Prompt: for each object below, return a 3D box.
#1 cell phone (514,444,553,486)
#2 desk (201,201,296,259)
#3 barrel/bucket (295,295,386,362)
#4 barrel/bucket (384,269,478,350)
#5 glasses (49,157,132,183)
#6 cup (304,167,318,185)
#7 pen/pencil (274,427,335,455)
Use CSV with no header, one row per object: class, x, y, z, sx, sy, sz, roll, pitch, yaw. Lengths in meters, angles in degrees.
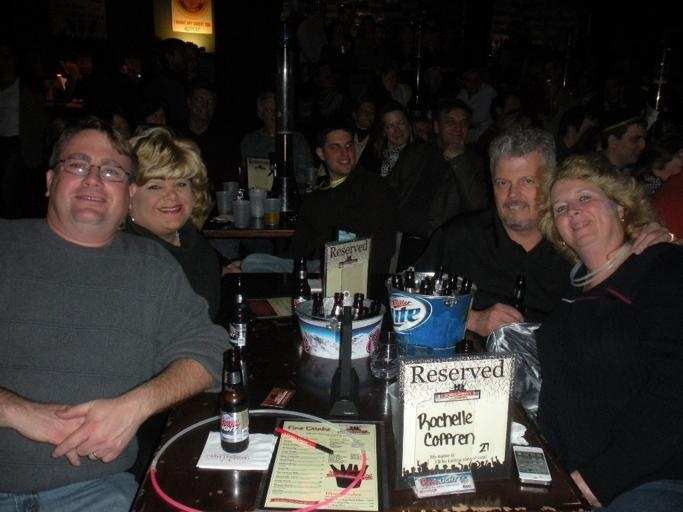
cell phone,0.614,0.677,1.841,0.111,0.049,0.137,2,21,2
desk,-0.726,-0.088,4.595,0.883,0.497,1.138,3,-5,-13
barrel/bucket,-0.022,0.294,2.352,0.273,0.096,0.267,1,4,0
barrel/bucket,0.341,0.213,2.442,0.388,0.254,0.344,-2,13,-19
glasses,-1.034,-0.359,2.377,0.162,0.041,0.152,6,-9,-27
cup,-0.305,-0.802,5.742,0.173,0.156,0.130,2,22,-3
pen/pencil,-0.126,0.622,1.896,0.168,0.016,0.017,15,36,19
